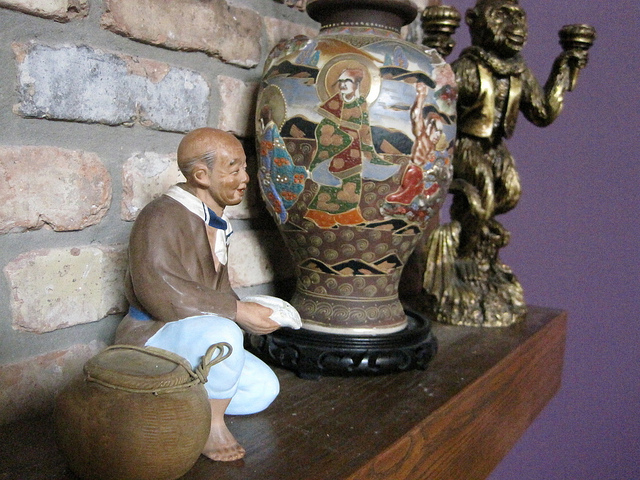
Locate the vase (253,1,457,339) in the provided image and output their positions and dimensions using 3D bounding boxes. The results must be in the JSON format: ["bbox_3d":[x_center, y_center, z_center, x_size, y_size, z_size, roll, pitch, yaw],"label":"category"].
[{"bbox_3d":[0.070,-0.165,1.650,0.449,0.763,0.282,8,14,10],"label":"vase"}]
